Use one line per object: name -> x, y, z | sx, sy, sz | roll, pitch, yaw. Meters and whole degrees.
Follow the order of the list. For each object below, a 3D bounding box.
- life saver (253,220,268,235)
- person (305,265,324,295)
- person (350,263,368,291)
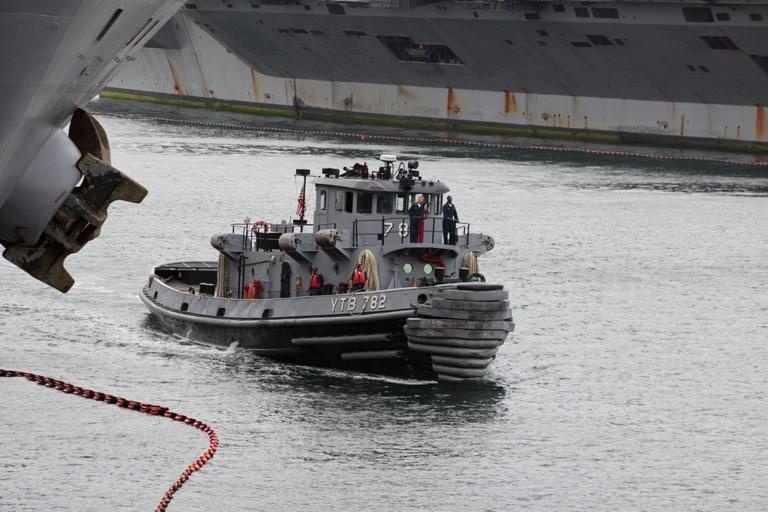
life saver -> -3.789, -0.792, 43.966 | 0.499, 0.416, 0.181 | -3, -4, -3
person -> -2.068, 0.667, 42.202 | 0.401, 0.733, 0.686 | 3, 3, -4
person -> -0.906, 0.567, 41.304 | 0.510, 0.695, 0.260 | 4, 3, 18
